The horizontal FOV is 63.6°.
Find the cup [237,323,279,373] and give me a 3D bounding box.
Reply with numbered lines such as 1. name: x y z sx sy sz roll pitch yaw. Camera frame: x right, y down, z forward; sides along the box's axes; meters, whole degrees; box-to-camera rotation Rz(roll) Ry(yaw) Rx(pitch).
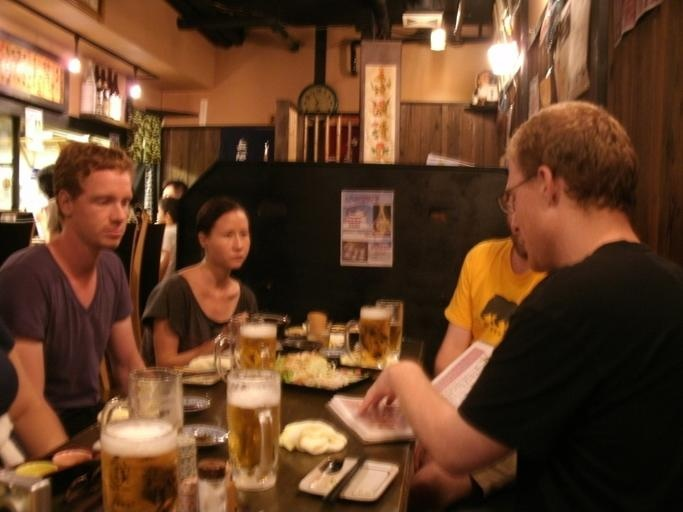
1. cup: -0.259 0.283 1.721 0.125 0.149 0.125 1 1 0

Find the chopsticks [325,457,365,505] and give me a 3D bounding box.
1. chopsticks: 0.008 0.498 1.257 0.028 0.011 0.218 4 5 14

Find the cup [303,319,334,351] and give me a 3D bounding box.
1. cup: -0.098 0.352 2.412 0.092 0.097 0.094 1 2 0

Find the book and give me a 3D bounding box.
1. book: 0.236 0.435 1.663 0.398 0.125 0.272 -22 39 -29

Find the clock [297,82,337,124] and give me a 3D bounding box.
1. clock: -0.364 -2.353 8.217 0.667 0.491 0.289 3 7 13

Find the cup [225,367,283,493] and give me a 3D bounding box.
1. cup: -0.198 0.391 1.258 0.117 0.252 0.103 0 7 -11
